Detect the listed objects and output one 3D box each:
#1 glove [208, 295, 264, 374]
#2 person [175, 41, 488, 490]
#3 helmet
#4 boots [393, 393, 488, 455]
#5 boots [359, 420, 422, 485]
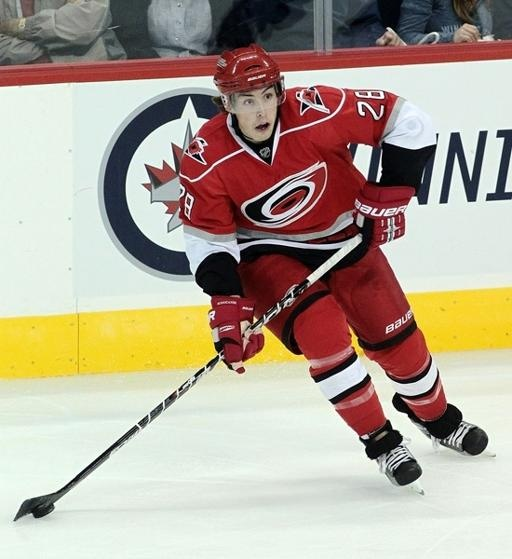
[{"bbox_3d":[-0.054,0.162,2.266,0.228,0.193,0.115,16,-29,-36],"label":"glove"},{"bbox_3d":[0.194,-0.051,2.280,0.858,1.229,0.518,0,19,13],"label":"person"},{"bbox_3d":[-0.032,-0.556,2.201,0.192,0.154,0.189,-16,13,-6],"label":"helmet"},{"bbox_3d":[0.576,0.447,2.499,0.130,0.147,0.306,-53,39,-8],"label":"boots"},{"bbox_3d":[0.359,0.476,2.262,0.109,0.096,0.229,-42,45,2],"label":"boots"}]
